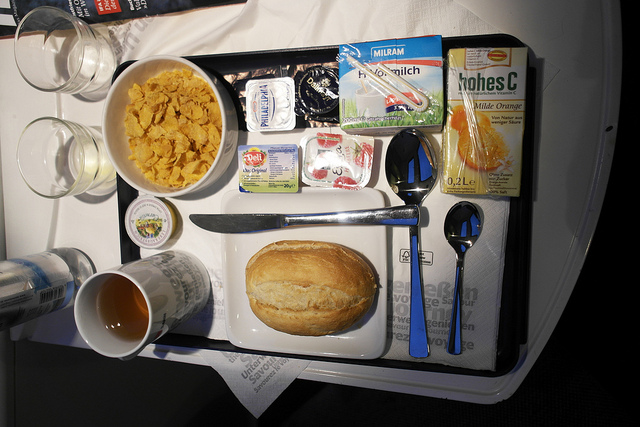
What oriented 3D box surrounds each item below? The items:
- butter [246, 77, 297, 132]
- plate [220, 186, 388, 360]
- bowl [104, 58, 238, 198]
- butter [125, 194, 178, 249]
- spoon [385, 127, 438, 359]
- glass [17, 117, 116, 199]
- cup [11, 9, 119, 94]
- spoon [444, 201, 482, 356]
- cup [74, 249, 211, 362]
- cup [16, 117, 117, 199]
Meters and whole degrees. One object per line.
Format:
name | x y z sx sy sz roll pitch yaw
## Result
butter | -0.138 -0.321 1.393 0.147 0.154 0.036 -2 3 6
plate | -0.024 0.175 1.274 0.468 0.520 0.066 3 -3 8
bowl | -0.428 -0.251 1.341 0.352 0.420 0.169 0 5 7
butter | -0.514 0.022 1.396 0.146 0.161 0.045 1 1 2
spoon | 0.267 0.083 1.306 0.122 0.638 0.078 -3 -7 9
glass | -0.799 -0.170 1.424 0.282 0.257 0.163 3 15 24
cup | -0.803 -0.516 1.558 0.293 0.277 0.226 18 10 3
spoon | 0.407 0.186 1.324 0.100 0.429 0.105 1 13 15
cup | -0.478 0.217 1.346 0.200 0.263 0.352 12 4 13
cup | -0.780 -0.152 1.516 0.236 0.300 0.212 -9 5 12
